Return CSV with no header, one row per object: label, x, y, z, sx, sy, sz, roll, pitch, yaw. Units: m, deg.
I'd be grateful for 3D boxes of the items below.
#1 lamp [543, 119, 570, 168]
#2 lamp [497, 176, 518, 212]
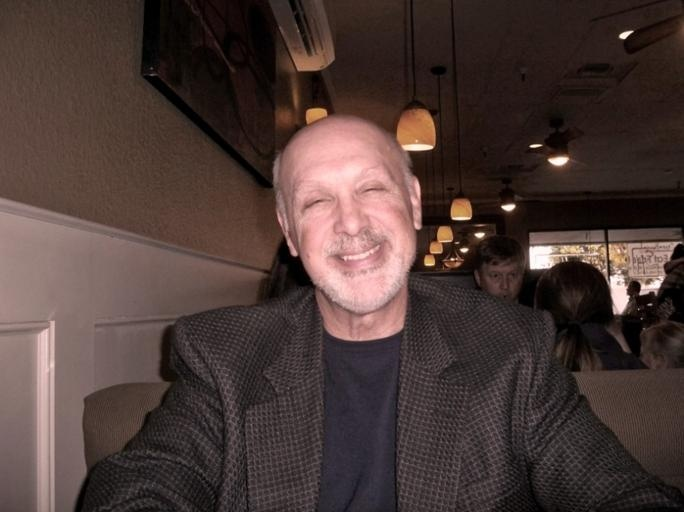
lamp,2.305,-1.243,6.266,0.216,0.489,0.219,-2,1,3
lamp,2.593,-0.985,9.172,0.244,0.506,0.234,-3,5,18
